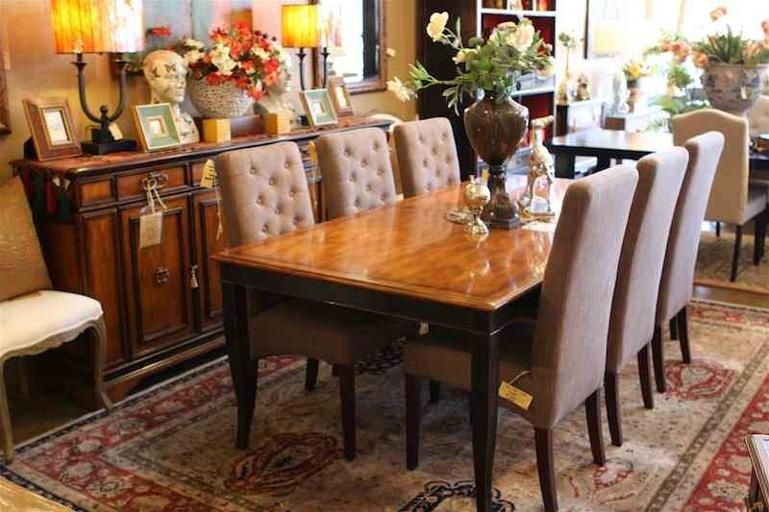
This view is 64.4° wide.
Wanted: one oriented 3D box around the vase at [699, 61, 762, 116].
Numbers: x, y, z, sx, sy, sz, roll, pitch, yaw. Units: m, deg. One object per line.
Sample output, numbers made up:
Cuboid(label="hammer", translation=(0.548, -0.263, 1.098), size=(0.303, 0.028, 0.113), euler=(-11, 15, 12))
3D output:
Cuboid(label="vase", translation=(2.915, -1.412, 5.220), size=(0.434, 0.341, 0.458), euler=(-5, 10, -21))

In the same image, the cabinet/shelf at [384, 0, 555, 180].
Cuboid(label="cabinet/shelf", translation=(0.554, -0.790, 3.240), size=(0.819, 0.883, 0.841), euler=(4, 7, 29))

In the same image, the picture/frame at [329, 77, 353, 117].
Cuboid(label="picture/frame", translation=(-0.350, -1.249, 4.791), size=(0.083, 0.293, 0.229), euler=(-11, -8, 33))

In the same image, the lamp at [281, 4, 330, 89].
Cuboid(label="lamp", translation=(-0.597, -1.553, 4.565), size=(0.331, 0.596, 0.538), euler=(-5, 20, -8))

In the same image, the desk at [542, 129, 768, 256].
Cuboid(label="desk", translation=(2.205, -0.538, 5.296), size=(1.366, 1.238, 1.367), euler=(6, 12, 32))

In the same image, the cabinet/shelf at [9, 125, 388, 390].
Cuboid(label="cabinet/shelf", translation=(-1.311, -0.004, 4.281), size=(0.745, 1.345, 2.335), euler=(2, 11, 26))

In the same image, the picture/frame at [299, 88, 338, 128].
Cuboid(label="picture/frame", translation=(-0.500, -1.068, 4.468), size=(0.059, 0.254, 0.248), euler=(17, 35, 42))

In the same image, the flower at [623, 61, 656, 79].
Cuboid(label="flower", translation=(3.117, -2.281, 7.517), size=(0.286, 0.123, 0.279), euler=(-5, 5, -7))

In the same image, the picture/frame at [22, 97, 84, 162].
Cuboid(label="picture/frame", translation=(-1.851, -0.688, 3.377), size=(0.067, 0.376, 0.346), euler=(-8, 11, 40))

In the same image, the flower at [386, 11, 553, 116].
Cuboid(label="flower", translation=(0.432, -0.990, 3.129), size=(0.856, 0.423, 0.483), euler=(-3, 24, 7))

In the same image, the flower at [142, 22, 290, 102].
Cuboid(label="flower", translation=(-1.037, -1.227, 3.965), size=(0.583, 0.375, 0.571), euler=(7, 10, 15))

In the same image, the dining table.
Cuboid(label="dining table", translation=(0.062, 0.589, 3.035), size=(1.207, 0.826, 1.781), euler=(12, 23, 28))
